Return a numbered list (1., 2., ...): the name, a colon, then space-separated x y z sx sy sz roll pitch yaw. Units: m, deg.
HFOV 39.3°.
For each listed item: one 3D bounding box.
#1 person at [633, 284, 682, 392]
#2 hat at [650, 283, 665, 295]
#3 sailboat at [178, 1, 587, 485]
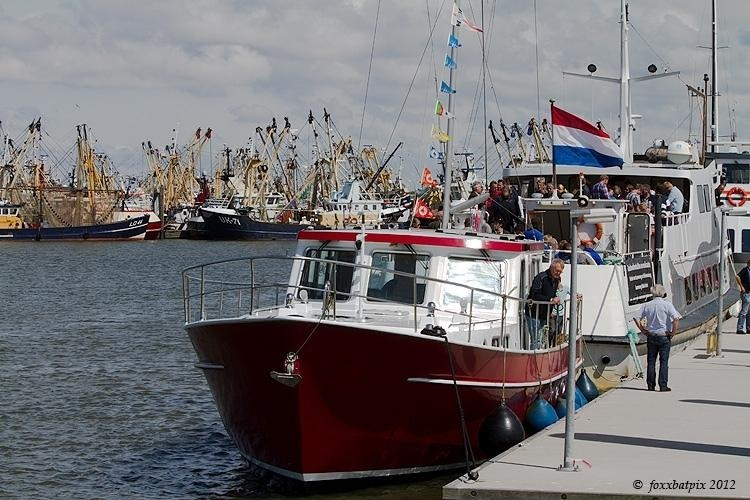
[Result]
1. person: 5.912 1.879 22.317 0.826 1.958 0.794 1 1 14
2. hat: 6.140 0.862 23.197 0.200 0.271 0.246 6 5 0
3. sailboat: 0.948 1.782 24.945 4.726 7.414 12.814 2 2 24
